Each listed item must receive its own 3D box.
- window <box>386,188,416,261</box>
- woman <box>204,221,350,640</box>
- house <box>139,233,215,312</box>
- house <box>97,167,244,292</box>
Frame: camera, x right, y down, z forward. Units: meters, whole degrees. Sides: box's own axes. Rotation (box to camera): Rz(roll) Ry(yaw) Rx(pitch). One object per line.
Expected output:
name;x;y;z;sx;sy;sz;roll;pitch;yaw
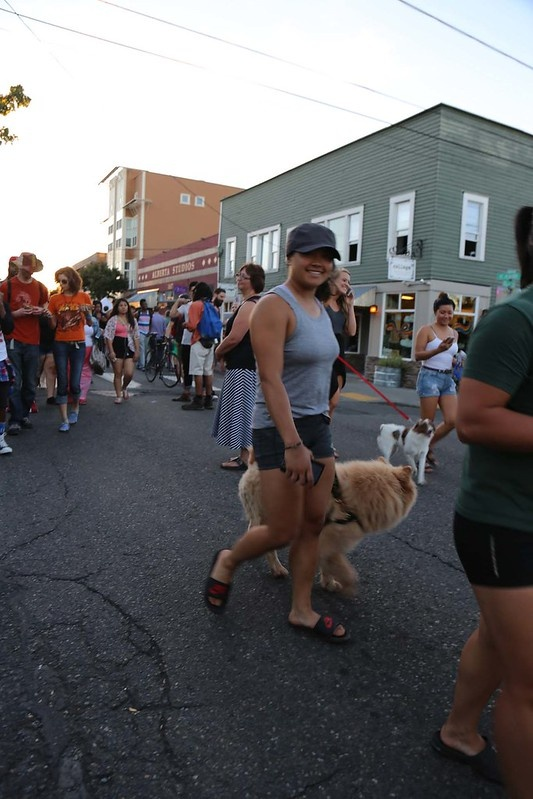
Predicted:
window;4.319;-5.548;18.701;0.294;1.967;1.100;0;7;-25
woman;0.122;0.164;2.585;0.581;1.854;0.662;2;6;-8
house;-5.997;-8.586;40.179;1.803;2.920;12.559;-13;8;-39
house;-9.107;-15.405;54.488;9.709;9.047;6.692;-2;14;-22
